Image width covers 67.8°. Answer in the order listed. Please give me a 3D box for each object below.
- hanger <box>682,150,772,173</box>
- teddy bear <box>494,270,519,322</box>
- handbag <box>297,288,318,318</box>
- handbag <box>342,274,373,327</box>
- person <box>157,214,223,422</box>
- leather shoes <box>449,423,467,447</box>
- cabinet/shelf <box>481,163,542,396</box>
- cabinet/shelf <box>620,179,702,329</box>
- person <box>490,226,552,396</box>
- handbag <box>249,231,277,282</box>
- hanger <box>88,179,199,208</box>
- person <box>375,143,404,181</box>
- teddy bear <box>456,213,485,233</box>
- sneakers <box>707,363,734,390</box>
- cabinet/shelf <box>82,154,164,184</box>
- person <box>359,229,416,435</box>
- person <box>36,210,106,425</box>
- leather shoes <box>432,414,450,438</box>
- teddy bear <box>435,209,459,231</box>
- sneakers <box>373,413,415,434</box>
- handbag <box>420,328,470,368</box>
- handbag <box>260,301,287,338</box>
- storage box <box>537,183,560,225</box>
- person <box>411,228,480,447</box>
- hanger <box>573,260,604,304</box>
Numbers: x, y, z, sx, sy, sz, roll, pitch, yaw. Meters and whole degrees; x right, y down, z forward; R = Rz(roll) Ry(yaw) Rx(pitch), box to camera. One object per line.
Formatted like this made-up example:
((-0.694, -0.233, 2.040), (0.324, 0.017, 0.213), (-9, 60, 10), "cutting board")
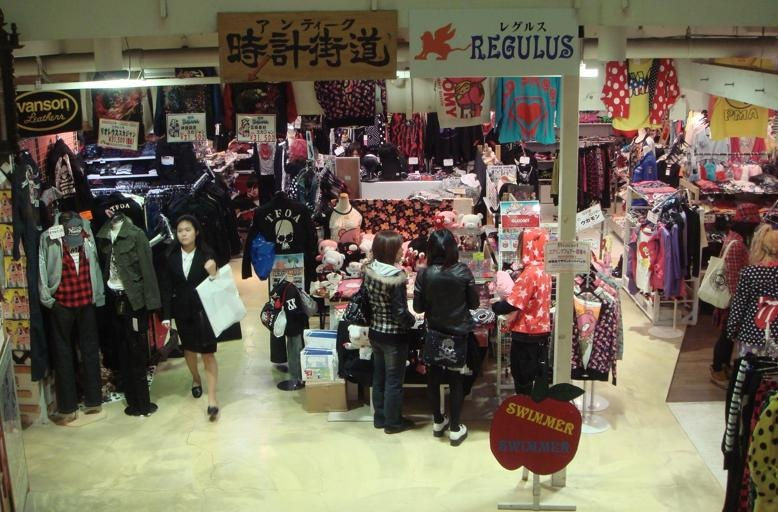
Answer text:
((5.663, -1.599, 9.730), (1.393, 0.416, 0.200), (-4, 31, 5), "hanger")
((1.195, 0.406, 6.052), (0.175, 0.419, 0.415), (2, -9, -4), "teddy bear")
((-0.979, 0.554, 6.936), (0.178, 0.358, 0.276), (3, 14, 21), "handbag")
((-0.320, 0.510, 6.194), (0.247, 0.422, 0.315), (10, -10, -24), "handbag")
((-2.246, 0.682, 6.673), (0.695, 2.293, 0.461), (5, 15, 29), "person")
((0.721, 1.885, 6.075), (0.102, 0.113, 0.287), (2, 14, 15), "leather shoes")
((1.429, 0.550, 6.234), (0.611, 1.901, 0.862), (-2, 2, 15), "cabinet/shelf")
((4.018, 0.017, 8.459), (0.536, 1.559, 1.707), (-5, 34, -4), "cabinet/shelf")
((1.392, 0.599, 6.036), (0.599, 1.686, 0.486), (-2, 13, -1), "person")
((-1.628, -0.002, 7.430), (0.319, 0.597, 0.205), (-5, 13, -13), "handbag")
((-3.264, -0.836, 7.755), (1.829, 0.368, 0.623), (-1, -3, -2), "hanger")
((0.041, -1.851, 11.173), (0.562, 0.886, 0.733), (-2, 14, -6), "person")
((0.999, -0.387, 6.998), (0.255, 0.243, 0.199), (0, 14, -2), "teddy bear")
((3.997, 1.472, 6.957), (0.172, 0.181, 0.433), (-2, 2, -5), "sneakers")
((-4.819, -1.570, 10.421), (1.108, 0.473, 0.682), (-8, 15, -23), "cabinet/shelf")
((0.016, 0.850, 6.070), (0.397, 2.156, 0.463), (-10, 15, -32), "person")
((-3.574, 0.633, 6.585), (0.644, 2.230, 0.375), (-9, 15, -28), "person")
((0.559, 1.826, 6.221), (0.104, 0.115, 0.272), (0, 19, 20), "leather shoes")
((0.703, -0.451, 6.977), (0.261, 0.229, 0.242), (31, -8, 3), "teddy bear")
((0.069, 1.827, 6.348), (0.494, 0.207, 0.175), (-5, 10, -27), "sneakers")
((0.573, 0.927, 5.833), (0.426, 0.370, 0.155), (8, -2, 0), "handbag")
((-1.378, 0.708, 6.969), (0.192, 0.431, 0.445), (0, 13, -33), "handbag")
((3.529, -1.201, 12.533), (0.419, 0.645, 0.421), (-10, 10, -18), "storage box")
((0.584, 0.840, 5.986), (0.647, 2.235, 0.472), (-1, 13, 4), "person")
((2.036, 0.286, 5.932), (0.431, 0.528, 0.078), (5, -16, 4), "hanger")
